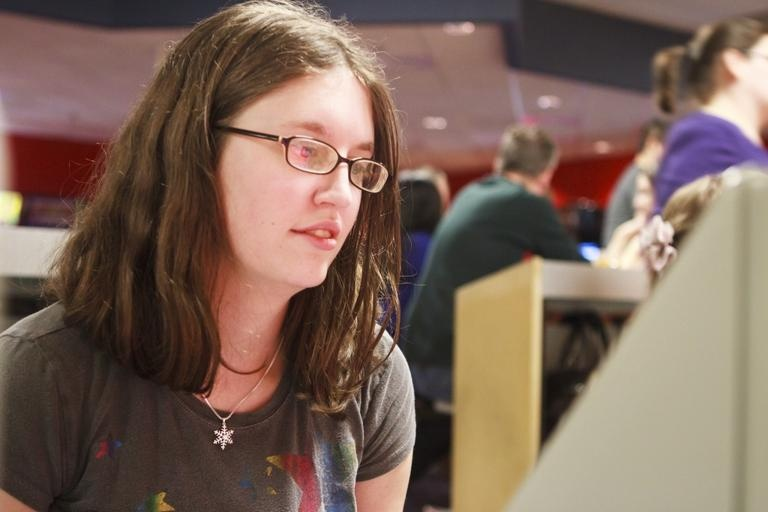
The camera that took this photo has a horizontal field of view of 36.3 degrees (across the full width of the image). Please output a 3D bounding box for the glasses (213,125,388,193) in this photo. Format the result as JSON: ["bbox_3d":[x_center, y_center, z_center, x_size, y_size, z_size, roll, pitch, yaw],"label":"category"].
[{"bbox_3d":[-0.100,-0.161,1.936,0.156,0.041,0.158,19,-8,-43],"label":"glasses"}]
